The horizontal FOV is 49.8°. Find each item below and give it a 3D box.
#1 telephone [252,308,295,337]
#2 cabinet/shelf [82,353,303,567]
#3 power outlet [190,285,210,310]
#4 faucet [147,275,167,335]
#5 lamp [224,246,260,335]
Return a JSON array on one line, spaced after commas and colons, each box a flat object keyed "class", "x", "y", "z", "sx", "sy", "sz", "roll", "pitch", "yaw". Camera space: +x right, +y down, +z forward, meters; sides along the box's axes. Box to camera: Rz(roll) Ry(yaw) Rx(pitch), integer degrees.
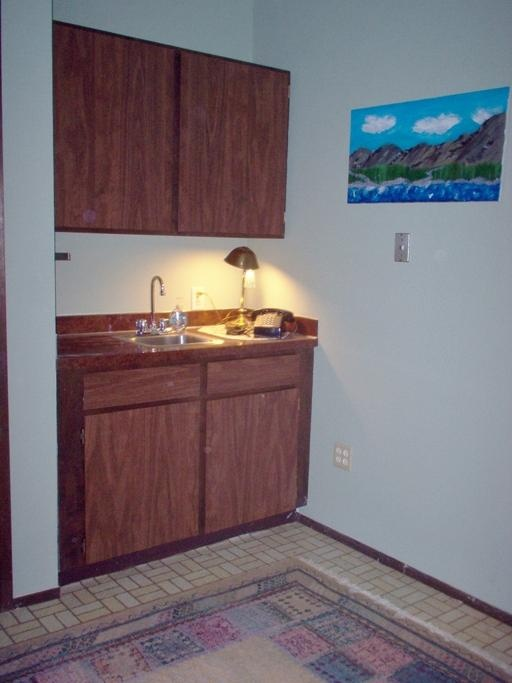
[{"class": "telephone", "x": 0.040, "y": -0.087, "z": 2.524, "sx": 0.246, "sy": 0.127, "sz": 0.173, "roll": 4, "pitch": 4, "yaw": 31}, {"class": "cabinet/shelf", "x": -0.289, "y": 0.431, "z": 2.299, "sx": 0.999, "sy": 0.750, "sz": 0.328, "roll": -3, "pitch": 6, "yaw": -33}, {"class": "power outlet", "x": -0.275, "y": -0.216, "z": 2.690, "sx": 0.114, "sy": 0.129, "sz": 0.015, "roll": -6, "pitch": 13, "yaw": -42}, {"class": "faucet", "x": -0.425, "y": -0.164, "z": 2.401, "sx": 0.072, "sy": 0.257, "sz": 0.342, "roll": 1, "pitch": 4, "yaw": -9}, {"class": "lamp", "x": -0.075, "y": -0.247, "z": 2.674, "sx": 0.145, "sy": 0.409, "sz": 0.431, "roll": 1, "pitch": 4, "yaw": -3}]
